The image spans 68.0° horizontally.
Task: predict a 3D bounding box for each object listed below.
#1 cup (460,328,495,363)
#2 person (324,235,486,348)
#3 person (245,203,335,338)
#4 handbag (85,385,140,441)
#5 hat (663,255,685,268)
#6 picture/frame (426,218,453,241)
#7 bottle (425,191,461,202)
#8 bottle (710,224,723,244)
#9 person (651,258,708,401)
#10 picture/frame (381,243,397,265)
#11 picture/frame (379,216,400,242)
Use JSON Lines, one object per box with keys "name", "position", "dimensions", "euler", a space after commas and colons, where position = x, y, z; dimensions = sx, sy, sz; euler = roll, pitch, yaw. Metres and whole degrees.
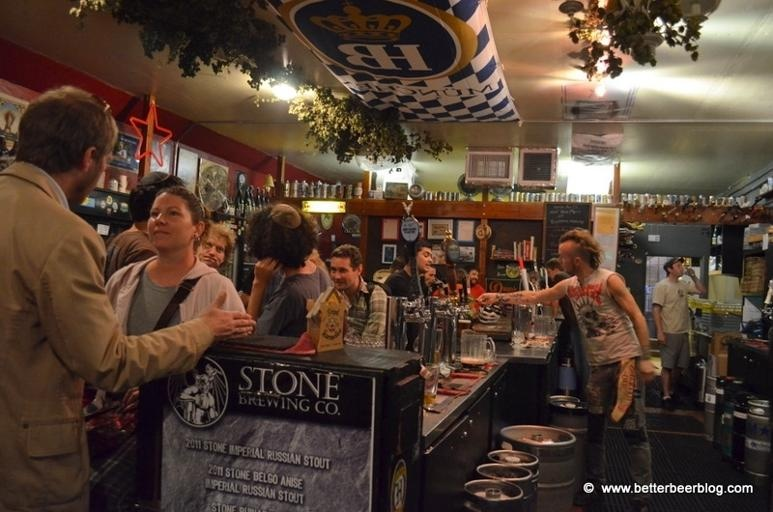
{"name": "cup", "position": [0.624, 0.641, 3.986], "dimensions": [0.216, 0.237, 0.356], "euler": [2, -1, 11]}
{"name": "person", "position": [-0.023, 0.235, 4.414], "dimensions": [0.802, 0.603, 2.288], "euler": [2, -1, 5]}
{"name": "person", "position": [-0.638, 0.074, 3.683], "dimensions": [0.509, 0.804, 0.756], "euler": [2, -1, -16]}
{"name": "handbag", "position": [-1.334, 0.739, 2.733], "dimensions": [0.294, 0.250, 0.092], "euler": [5, -45, 8]}
{"name": "hat", "position": [4.856, 0.092, 9.677], "dimensions": [0.193, 0.107, 0.252], "euler": [-1, -21, -38]}
{"name": "picture/frame", "position": [0.839, -0.407, 8.963], "dimensions": [0.401, 0.337, 0.041], "euler": [-1, 1, 3]}
{"name": "bottle", "position": [0.877, -0.942, 9.196], "dimensions": [0.577, 0.159, 0.158], "euler": [2, -1, -2]}
{"name": "bottle", "position": [6.866, -0.415, 11.972], "dimensions": [0.098, 0.411, 0.879], "euler": [1, -1, 25]}
{"name": "person", "position": [4.087, 1.060, 8.335], "dimensions": [0.435, 2.057, 0.742], "euler": [0, -2, 45]}
{"name": "picture/frame", "position": [0.036, -0.043, 9.053], "dimensions": [0.340, 0.416, 0.036], "euler": [2, 3, 5]}
{"name": "picture/frame", "position": [0.057, -0.426, 9.226], "dimensions": [0.415, 0.496, 0.066], "euler": [1, 0, 4]}
